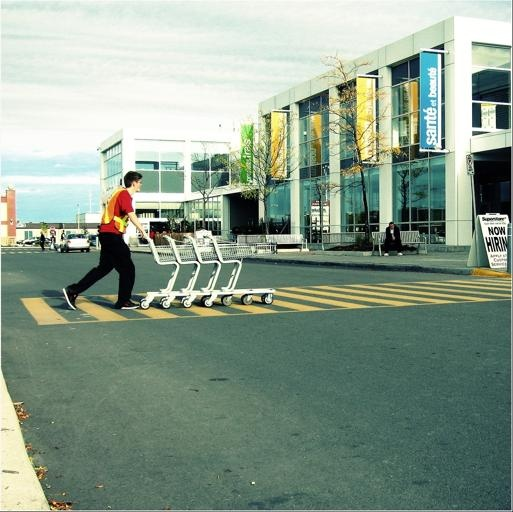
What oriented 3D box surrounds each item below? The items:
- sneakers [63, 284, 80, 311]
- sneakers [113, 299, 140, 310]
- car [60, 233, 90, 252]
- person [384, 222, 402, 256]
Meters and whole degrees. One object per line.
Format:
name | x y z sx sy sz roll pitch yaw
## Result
sneakers | -3.508 0.781 11.328 0.187 0.443 0.146 -9 13 12
sneakers | -2.342 0.881 10.836 0.476 0.216 0.181 1 16 -4
car | -16.262 -1.146 53.209 1.829 1.287 4.133 -2 5 -23
person | 6.690 -0.869 29.122 0.910 1.583 2.173 0 2 14
